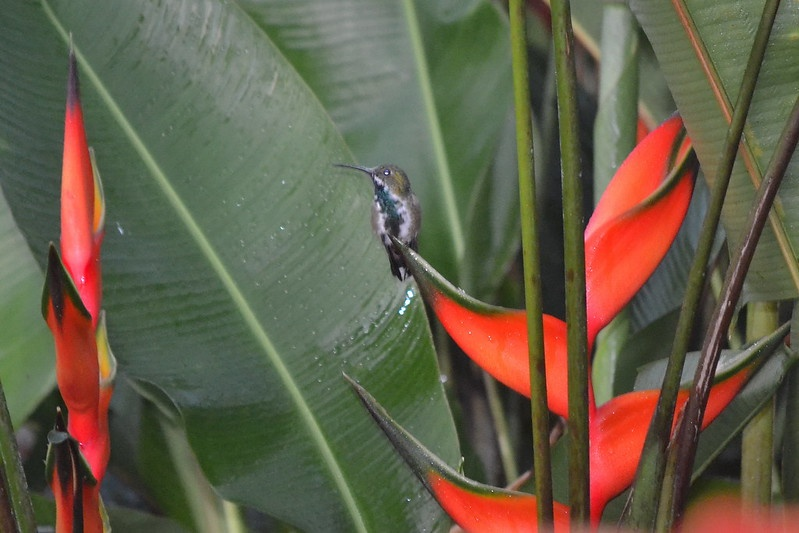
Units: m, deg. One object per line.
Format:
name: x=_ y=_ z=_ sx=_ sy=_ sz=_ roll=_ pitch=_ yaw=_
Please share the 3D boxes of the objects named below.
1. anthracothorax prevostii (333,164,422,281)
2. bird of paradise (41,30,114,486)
anthracothorax prevostii: x=0.014 y=-0.076 z=1.818 sx=0.063 sy=0.121 sz=0.211 roll=-4 pitch=-3 yaw=33
bird of paradise: x=-0.348 y=-0.022 z=1.447 sx=0.070 sy=0.504 sz=0.189 roll=-3 pitch=-5 yaw=-12
